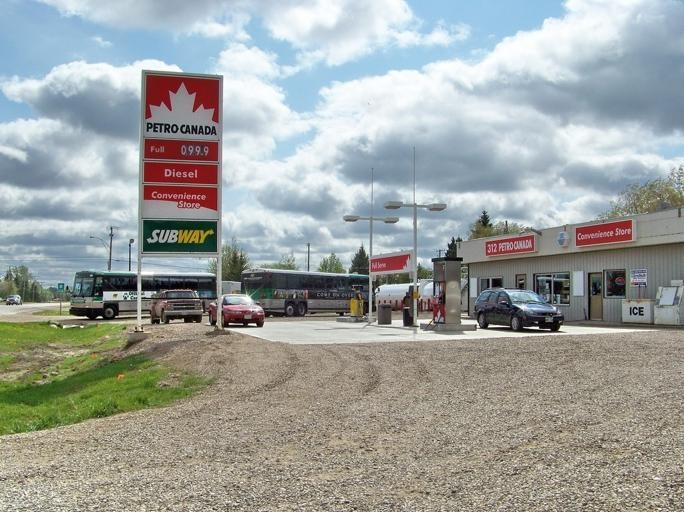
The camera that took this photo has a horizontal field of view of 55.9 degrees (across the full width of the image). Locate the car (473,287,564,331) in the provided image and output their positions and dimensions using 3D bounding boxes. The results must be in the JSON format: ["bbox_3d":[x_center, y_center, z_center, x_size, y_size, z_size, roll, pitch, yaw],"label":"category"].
[{"bbox_3d":[7.486,2.277,27.580,1.566,1.787,4.139,1,-4,-20],"label":"car"}]

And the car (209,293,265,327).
[{"bbox_3d":[-4.846,2.523,29.577,1.911,1.499,2.198,2,-4,-28],"label":"car"}]

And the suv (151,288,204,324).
[{"bbox_3d":[-9.076,2.716,35.073,1.694,1.446,3.036,1,-8,-22],"label":"suv"}]

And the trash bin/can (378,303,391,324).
[{"bbox_3d":[2.138,2.994,32.859,0.779,1.094,0.578,3,5,29],"label":"trash bin/can"}]

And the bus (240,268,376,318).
[{"bbox_3d":[-1.926,2.730,47.452,10.338,3.391,3.046,4,-4,-41],"label":"bus"}]
